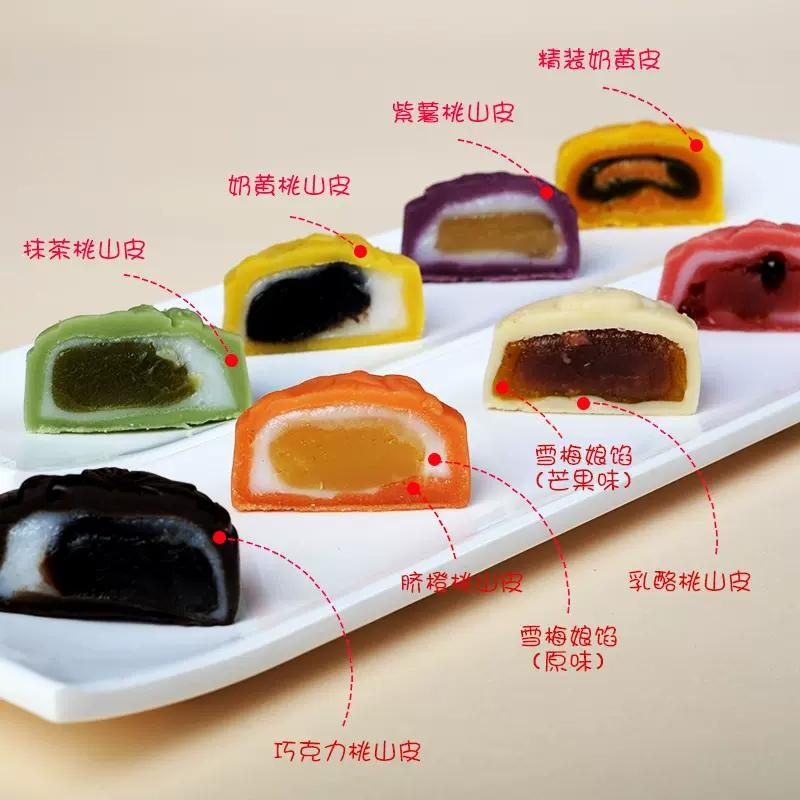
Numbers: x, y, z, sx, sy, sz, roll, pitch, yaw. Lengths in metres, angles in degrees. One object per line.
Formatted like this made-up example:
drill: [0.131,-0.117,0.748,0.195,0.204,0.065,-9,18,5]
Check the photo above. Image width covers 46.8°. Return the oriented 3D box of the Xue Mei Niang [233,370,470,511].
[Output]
Xue Mei Niang: [-0.152,0.105,2.256,0.681,0.306,0.156,3,-6,-39]
